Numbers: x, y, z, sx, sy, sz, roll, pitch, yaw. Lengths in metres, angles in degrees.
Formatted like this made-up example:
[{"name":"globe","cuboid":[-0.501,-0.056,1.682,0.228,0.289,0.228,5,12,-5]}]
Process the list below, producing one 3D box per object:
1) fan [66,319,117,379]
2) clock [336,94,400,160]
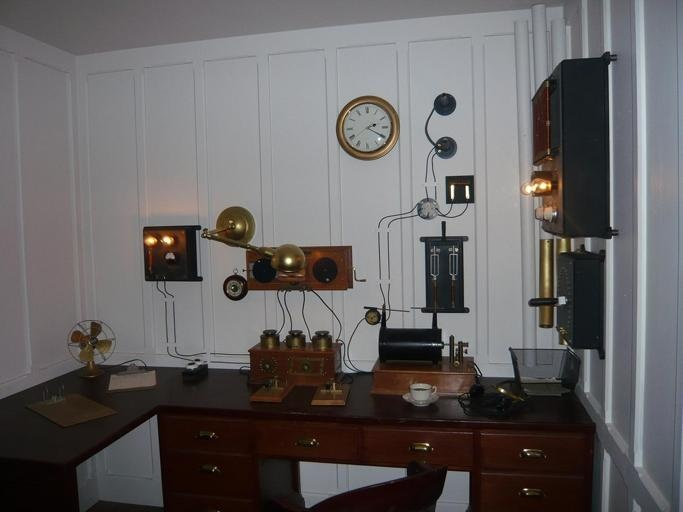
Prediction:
[{"name":"fan","cuboid":[-1.860,0.670,4.953,0.310,0.442,0.181,-5,8,-35]},{"name":"clock","cuboid":[0.202,-0.914,4.707,0.403,0.470,0.070,0,5,8]}]
